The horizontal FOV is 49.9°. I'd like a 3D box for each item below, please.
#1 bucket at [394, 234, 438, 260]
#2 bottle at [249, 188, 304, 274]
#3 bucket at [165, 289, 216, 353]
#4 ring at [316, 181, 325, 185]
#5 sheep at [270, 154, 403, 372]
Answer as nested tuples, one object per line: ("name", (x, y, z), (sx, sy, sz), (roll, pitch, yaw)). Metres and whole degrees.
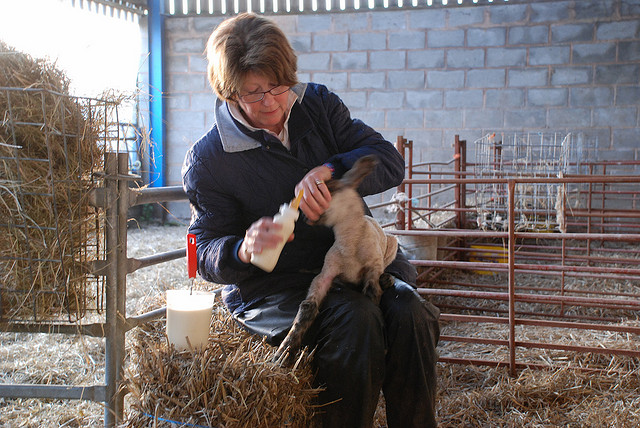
("bucket", (0.973, 0.269, 6.964), (0.349, 0.269, 0.365), (-1, 1, 0))
("bottle", (-0.282, 0.096, 4.382), (0.349, 0.507, 0.307), (-2, 4, -18))
("bucket", (-0.795, 0.621, 4.157), (0.194, 0.339, 0.287), (-4, 7, -39))
("ring", (0.003, -0.194, 4.372), (0.047, 0.020, 0.022), (-1, 3, 1))
("sheep", (0.127, 0.174, 4.508), (0.649, 1.019, 1.604), (-5, 17, 24))
